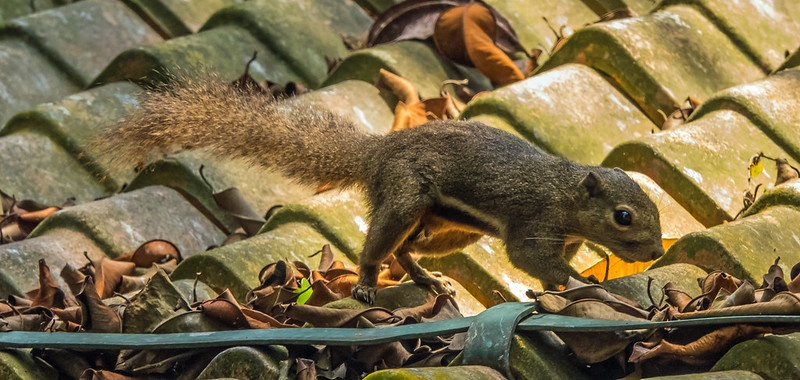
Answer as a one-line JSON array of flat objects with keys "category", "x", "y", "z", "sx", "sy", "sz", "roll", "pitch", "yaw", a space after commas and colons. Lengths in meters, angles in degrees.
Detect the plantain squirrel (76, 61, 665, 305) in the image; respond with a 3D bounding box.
[{"category": "plantain squirrel", "x": -0.017, "y": 0.099, "z": 20.353, "sx": 6.847, "sy": 2.631, "sz": 0.817, "roll": 6, "pitch": -2, "yaw": 7}]
